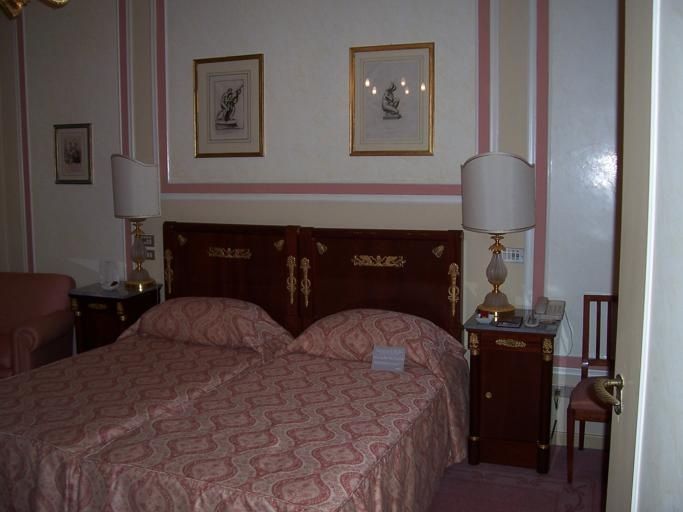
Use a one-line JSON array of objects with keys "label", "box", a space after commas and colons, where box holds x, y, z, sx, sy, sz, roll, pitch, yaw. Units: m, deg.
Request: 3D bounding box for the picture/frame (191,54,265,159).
[{"label": "picture/frame", "box": [-0.985, -1.349, 4.935, 0.797, 1.094, 0.071, 1, 4, 14]}]

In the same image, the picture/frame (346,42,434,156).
[{"label": "picture/frame", "box": [0.414, -1.302, 4.528, 0.812, 1.125, 0.074, 0, 6, 13]}]

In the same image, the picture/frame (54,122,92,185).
[{"label": "picture/frame", "box": [-2.622, -1.024, 5.483, 0.494, 0.763, 0.072, 3, 7, 8]}]

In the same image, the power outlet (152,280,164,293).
[{"label": "power outlet", "box": [-1.722, 0.281, 5.245, 0.077, 0.109, 0.102, 0, 2, -23]}]

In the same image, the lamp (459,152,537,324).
[{"label": "lamp", "box": [1.114, -0.133, 4.066, 0.529, 1.218, 0.304, 3, 14, 14]}]
